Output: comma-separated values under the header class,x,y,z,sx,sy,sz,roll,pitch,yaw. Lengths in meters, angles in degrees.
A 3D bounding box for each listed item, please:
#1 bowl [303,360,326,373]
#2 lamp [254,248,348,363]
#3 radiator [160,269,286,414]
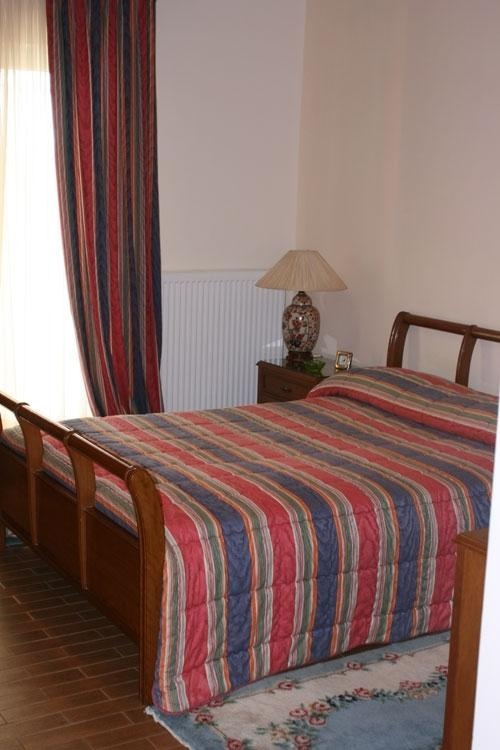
class,x,y,z,sx,sy,sz,roll,pitch,yaw
bowl,0.471,-0.059,4.080,0.103,0.047,0.104,-1,17,0
lamp,0.317,-0.505,4.381,0.734,0.973,0.764,6,17,21
radiator,-0.258,-0.273,4.476,1.016,1.055,0.358,-5,12,-34
